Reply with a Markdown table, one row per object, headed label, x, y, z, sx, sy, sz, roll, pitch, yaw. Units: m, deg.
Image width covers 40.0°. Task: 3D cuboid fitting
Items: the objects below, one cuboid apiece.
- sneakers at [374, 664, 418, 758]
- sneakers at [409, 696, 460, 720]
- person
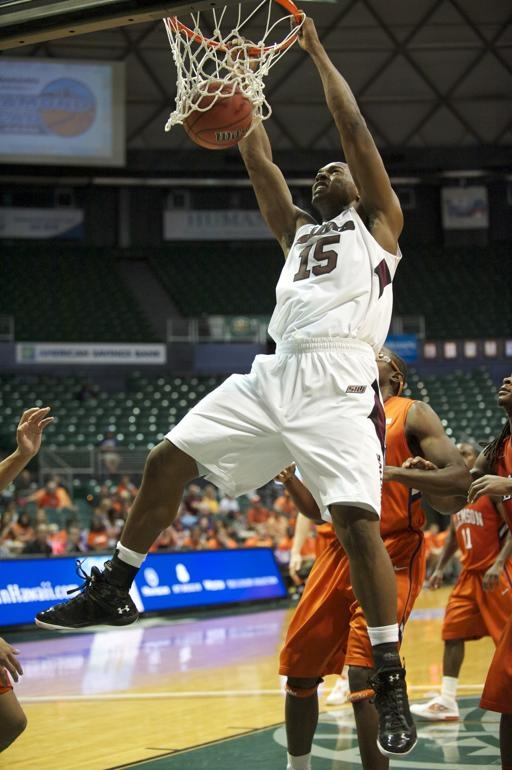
| label | x | y | z | sx | sy | sz | roll | pitch | yaw |
| --- | --- | --- | --- | --- | --- | --- | --- | --- | --- |
| sneakers | 0.289 | 0.724 | 1.577 | 0.078 | 0.096 | 0.231 | -8 | 15 | 7 |
| sneakers | 0.933 | 1.659 | 3.638 | 0.288 | 0.125 | 0.102 | 3 | -8 | 1 |
| person | 0.029 | -0.183 | 2.033 | 0.765 | 2.176 | 0.439 | -6 | -15 | 20 |
